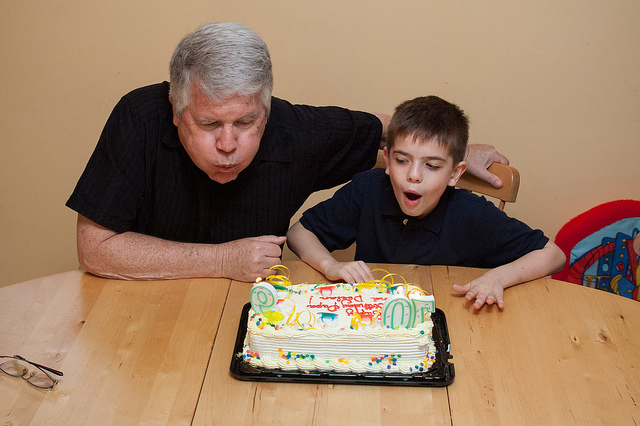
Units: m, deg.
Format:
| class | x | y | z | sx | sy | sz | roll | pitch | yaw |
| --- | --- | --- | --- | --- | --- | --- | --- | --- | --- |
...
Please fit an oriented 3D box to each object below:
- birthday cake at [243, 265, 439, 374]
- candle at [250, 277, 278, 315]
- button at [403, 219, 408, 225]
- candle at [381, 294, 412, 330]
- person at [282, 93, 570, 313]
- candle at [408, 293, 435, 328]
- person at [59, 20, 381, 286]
| class | x | y | z | sx | sy | sz | roll | pitch | yaw |
| --- | --- | --- | --- | --- | --- | --- | --- | --- | --- |
| birthday cake | 0.093 | 0.405 | 2.208 | 0.614 | 0.254 | 0.415 | 2 | 9 | 2 |
| candle | -0.238 | 0.361 | 2.234 | 0.126 | 0.185 | 0.052 | 0 | 15 | 3 |
| button | 0.450 | 0.047 | 2.744 | 0.024 | 0.030 | 0.007 | 14 | 18 | 17 |
| candle | 0.325 | 0.440 | 2.139 | 0.147 | 0.074 | 0.198 | -6 | 30 | 16 |
| person | 0.545 | -0.077 | 2.806 | 0.868 | 1.119 | 0.549 | 16 | 38 | 20 |
| candle | 0.418 | 0.404 | 2.163 | 0.135 | 0.173 | 0.018 | 2 | -2 | -15 |
| person | -0.452 | -0.295 | 2.663 | 1.172 | 1.242 | 0.969 | 13 | 18 | 13 |
